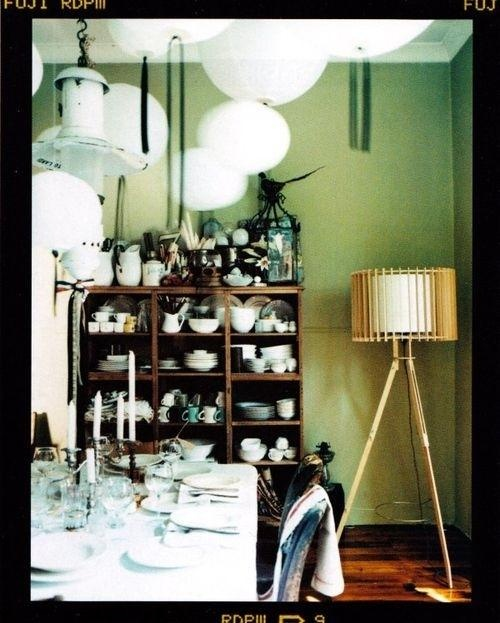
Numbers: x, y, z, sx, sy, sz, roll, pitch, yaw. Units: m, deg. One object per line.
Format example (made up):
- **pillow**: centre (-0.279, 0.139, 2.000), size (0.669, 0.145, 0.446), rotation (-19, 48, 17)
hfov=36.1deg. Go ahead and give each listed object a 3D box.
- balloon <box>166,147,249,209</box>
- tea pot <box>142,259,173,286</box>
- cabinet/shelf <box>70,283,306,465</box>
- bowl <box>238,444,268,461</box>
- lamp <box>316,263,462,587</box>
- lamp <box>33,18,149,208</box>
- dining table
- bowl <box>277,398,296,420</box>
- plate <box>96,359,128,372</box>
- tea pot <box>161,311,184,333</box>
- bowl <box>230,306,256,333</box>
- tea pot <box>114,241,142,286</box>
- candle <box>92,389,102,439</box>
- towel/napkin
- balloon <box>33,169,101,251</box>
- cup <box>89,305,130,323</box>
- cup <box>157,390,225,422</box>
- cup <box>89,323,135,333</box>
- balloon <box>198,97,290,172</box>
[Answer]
- **balloon**: centre (-0.145, -0.622, 3.325), size (0.312, 0.202, 0.311), rotation (-3, 14, 0)
- **tea pot**: centre (-0.394, -0.171, 3.288), size (0.122, 0.108, 0.078), rotation (0, -1, 2)
- **cabinet/shelf**: centre (-0.258, 0.268, 3.104), size (0.711, 0.668, 0.186), rotation (2, -4, -5)
- **bowl**: centre (0.013, 0.586, 3.137), size (0.077, 0.043, 0.078), rotation (1, -2, 0)
- **lamp**: centre (0.581, 0.384, 3.022), size (0.442, 1.118, 0.683), rotation (2, 7, 12)
- **lamp**: centre (-0.442, -0.566, 2.033), size (0.295, 0.463, 0.302), rotation (3, 5, 15)
- **dining table**: centre (-0.266, 0.506, 1.970), size (0.560, 0.225, 0.722), rotation (1, 7, 0)
- **bowl**: centre (0.149, 0.409, 3.192), size (0.076, 0.068, 0.077), rotation (0, -14, 0)
- **plate**: centre (-0.582, 0.227, 3.211), size (0.119, 0.047, 0.041), rotation (0, 6, -6)
- **tea pot**: centre (-0.331, 0.044, 3.270), size (0.095, 0.089, 0.063), rotation (4, -4, -32)
- **bowl**: centre (-0.036, 0.031, 3.174), size (0.094, 0.087, 0.104), rotation (0, -8, -1)
- **tea pot**: centre (-0.509, -0.196, 3.246), size (0.095, 0.173, 0.095), rotation (1, 6, 0)
- **candle**: centre (-0.393, 0.269, 1.985), size (0.023, 0.119, 0.023), rotation (-2, -7, 30)
- **towel/napkin**: centre (0.149, 0.585, 2.008), size (0.297, 0.345, 0.264), rotation (2, -7, 6)
- **balloon**: centre (-0.455, -0.251, 1.945), size (0.168, 0.168, 0.178), rotation (6, 1, -15)
- **cup**: centre (-0.603, 0.013, 3.242), size (0.125, 0.050, 0.075), rotation (0, -3, 2)
- **cup**: centre (-0.245, 0.399, 3.198), size (0.269, 0.123, 0.091), rotation (1, 6, 6)
- **cup**: centre (-0.581, 0.069, 3.204), size (0.188, 0.042, 0.029), rotation (0, 6, -8)
- **balloon**: centre (0.058, -0.731, 3.121), size (0.240, 0.283, 0.228), rotation (15, 36, 26)
